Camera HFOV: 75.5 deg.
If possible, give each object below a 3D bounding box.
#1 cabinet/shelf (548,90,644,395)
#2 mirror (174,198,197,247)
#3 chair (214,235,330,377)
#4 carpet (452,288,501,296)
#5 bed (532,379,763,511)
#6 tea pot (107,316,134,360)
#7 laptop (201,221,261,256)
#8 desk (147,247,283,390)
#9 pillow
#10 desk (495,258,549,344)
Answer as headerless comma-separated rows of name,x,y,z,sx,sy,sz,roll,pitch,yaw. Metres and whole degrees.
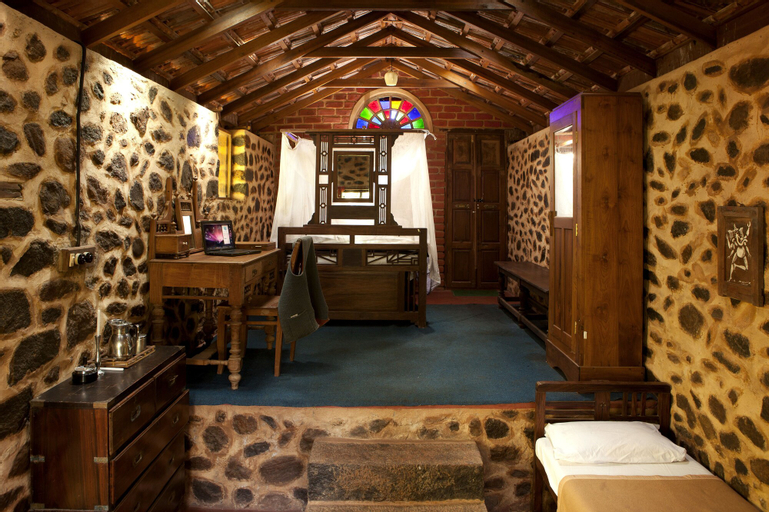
cabinet/shelf,2.024,-0.181,4.718,0.656,2.613,0.830,1,5,-5
mirror,-2.100,-0.344,5.240,0.315,0.534,0.062,1,-1,42
chair,-1.035,0.460,5.038,1.023,1.135,0.816,-1,2,1
carpet,1.617,0.625,8.821,0.777,0.022,0.795,1,4,6
bed,1.824,1.365,3.907,0.958,0.841,1.335,0,2,6
tea pot,-2.020,0.650,3.894,0.256,0.271,0.211,1,3,-8
laptop,-1.569,-0.184,5.224,0.491,0.335,0.602,5,5,5
desk,-1.708,0.550,4.961,0.970,1.168,1.088,2,5,6
pillow,1.769,1.425,3.843,0.964,0.210,0.372,1,5,0
desk,1.815,0.544,7.123,0.540,0.557,1.966,29,5,26
